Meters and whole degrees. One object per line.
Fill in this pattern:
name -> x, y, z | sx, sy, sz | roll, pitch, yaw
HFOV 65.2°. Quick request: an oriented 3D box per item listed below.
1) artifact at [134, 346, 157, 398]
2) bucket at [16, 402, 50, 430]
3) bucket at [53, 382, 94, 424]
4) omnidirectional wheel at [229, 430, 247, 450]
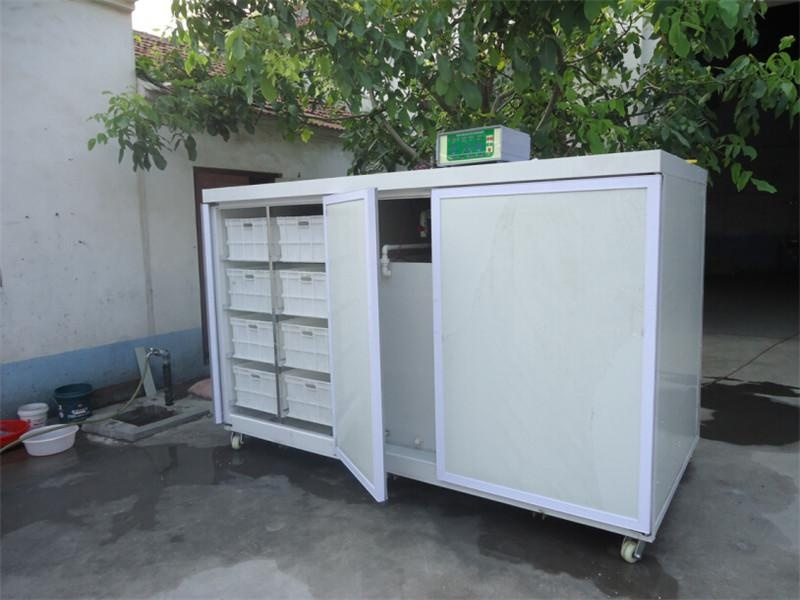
artifact -> -3.060, 0.815, 7.418 | 0.161, 0.696, 0.039 | 11, -33, -37
bucket -> -3.798, 1.199, 6.487 | 0.237, 0.188, 0.245 | 0, 5, 0
bucket -> -3.525, 1.130, 6.743 | 0.367, 0.327, 0.310 | -4, 4, -19
omnidirectional wheel -> -1.568, 1.368, 6.123 | 0.159, 0.265, 0.164 | 0, 0, 0
